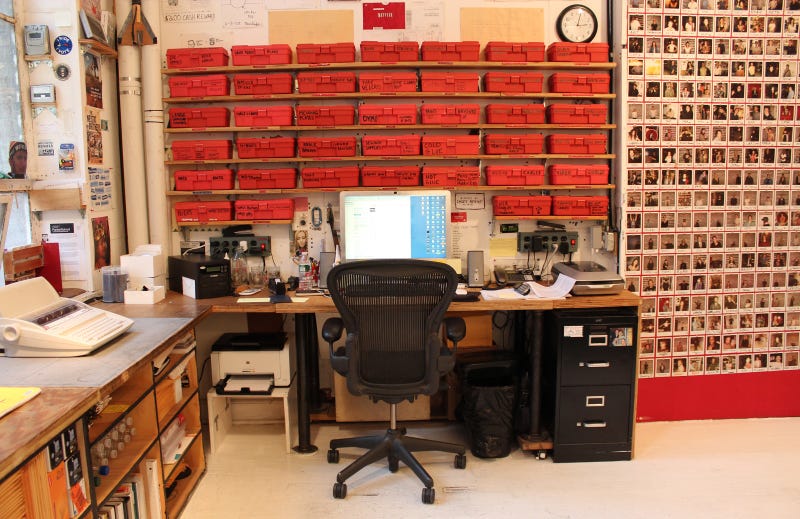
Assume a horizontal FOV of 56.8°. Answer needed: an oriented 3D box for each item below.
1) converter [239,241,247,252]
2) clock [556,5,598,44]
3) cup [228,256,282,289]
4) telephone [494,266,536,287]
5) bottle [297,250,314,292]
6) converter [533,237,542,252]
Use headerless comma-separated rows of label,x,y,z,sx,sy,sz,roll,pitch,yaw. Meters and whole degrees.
converter,-1.248,-0.115,5.891,0.068,0.089,0.024,-2,8,0
clock,1.377,-1.841,5.807,0.350,0.336,0.051,-1,8,-3
cup,-1.133,0.094,5.811,0.369,0.222,0.380,-2,7,0
telephone,0.906,0.119,5.827,0.335,0.118,0.300,-1,7,6
bottle,-0.735,0.081,5.765,0.113,0.257,0.396,-3,7,-7
converter,1.084,-0.133,5.888,0.099,0.131,0.071,1,12,0
